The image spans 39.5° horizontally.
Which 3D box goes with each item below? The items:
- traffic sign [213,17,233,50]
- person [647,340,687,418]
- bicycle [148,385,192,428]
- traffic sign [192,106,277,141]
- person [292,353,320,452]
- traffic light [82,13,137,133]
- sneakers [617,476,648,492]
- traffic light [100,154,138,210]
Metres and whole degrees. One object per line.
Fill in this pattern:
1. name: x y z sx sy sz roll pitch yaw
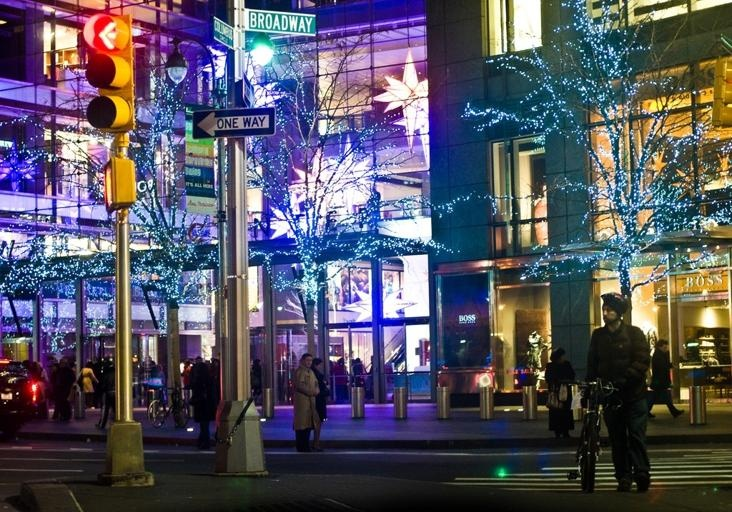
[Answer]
1. traffic sign: -2.560 -3.981 18.063 0.271 0.477 0.884 -2 -7 4
2. person: 8.119 3.374 28.047 0.802 2.147 1.499 -4 -7 17
3. bicycle: -6.128 4.682 31.421 0.859 1.125 1.961 -10 -7 28
4. traffic sign: -2.371 -2.352 18.128 1.842 0.687 0.033 0 -12 4
5. person: -1.397 3.378 23.596 0.556 2.246 1.040 -1 -6 -3
6. traffic light: -3.976 -2.880 15.783 0.734 1.829 0.549 0 -6 -15
7. sneakers: 4.103 3.511 15.624 0.604 0.197 0.255 5 -18 -7
8. traffic light: -3.891 -1.139 15.998 0.497 0.815 0.299 -2 -6 3
